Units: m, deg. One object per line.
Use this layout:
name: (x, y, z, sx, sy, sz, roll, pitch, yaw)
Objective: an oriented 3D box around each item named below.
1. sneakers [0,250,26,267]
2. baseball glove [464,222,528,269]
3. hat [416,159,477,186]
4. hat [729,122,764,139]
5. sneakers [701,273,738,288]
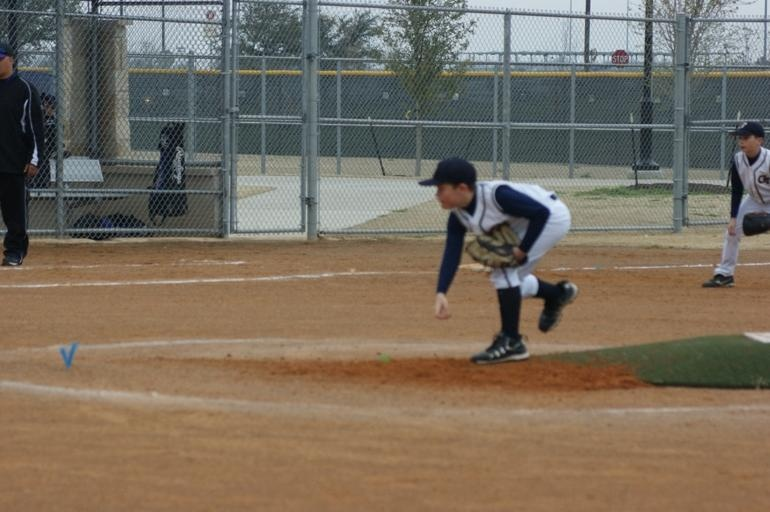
sneakers: (-4.939, 0.021, 20.122, 0.124, 0.163, 0.350, 9, -15, 8)
baseball glove: (1.224, -0.176, 16.995, 0.661, 0.315, 0.521, -9, 48, -23)
hat: (0.737, -0.935, 16.782, 0.471, 0.261, 0.320, 2, 4, -3)
hat: (4.746, -1.661, 19.652, 0.488, 0.264, 0.354, 0, 0, -5)
sneakers: (4.332, 0.292, 19.617, 0.424, 0.219, 0.167, 2, 3, -4)
